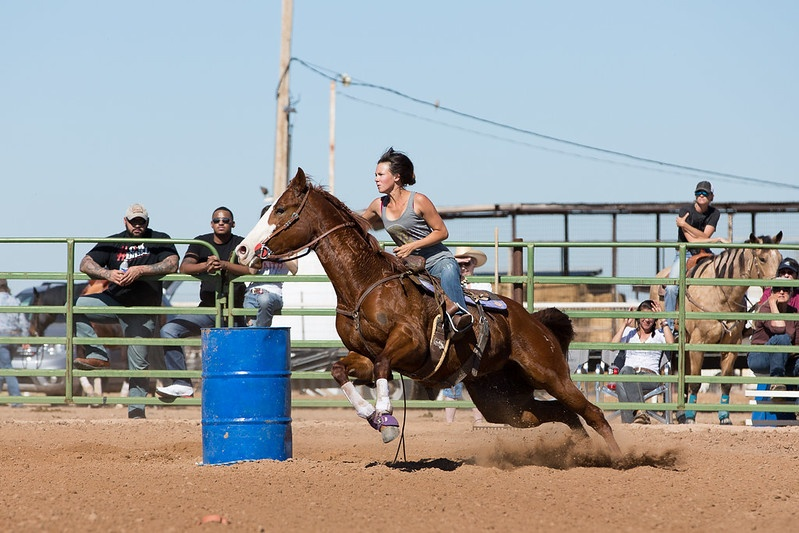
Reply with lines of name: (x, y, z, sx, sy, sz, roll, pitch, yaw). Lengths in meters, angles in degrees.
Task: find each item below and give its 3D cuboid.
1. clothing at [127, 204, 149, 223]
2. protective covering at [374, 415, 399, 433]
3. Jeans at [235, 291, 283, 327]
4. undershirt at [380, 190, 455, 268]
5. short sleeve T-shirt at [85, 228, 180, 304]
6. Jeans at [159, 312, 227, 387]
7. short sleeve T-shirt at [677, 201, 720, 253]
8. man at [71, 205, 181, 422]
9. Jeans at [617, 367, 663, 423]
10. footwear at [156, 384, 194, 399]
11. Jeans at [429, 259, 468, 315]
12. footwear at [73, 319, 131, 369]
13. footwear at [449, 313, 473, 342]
clothing: (-3.889, -0.726, 25.388, 0.297, 0.231, 0.309, 2, -2, -15)
protective covering: (-0.177, 1.996, 21.878, 0.291, 0.218, 0.196, 1, -2, -2)
Jeans: (-2.095, 0.642, 25.235, 0.388, 0.565, 0.360, 5, 27, 4)
undershirt: (0.169, -0.393, 21.792, 0.694, 0.866, 0.508, -17, 10, 36)
short sleeve T-shirt: (-3.997, 0.010, 25.618, 1.253, 1.121, 0.673, 5, 20, 5)
Jeans: (-3.244, 1.322, 26.060, 1.036, 1.423, 1.005, 0, -9, 1)
short sleeve T-shirt: (4.535, -0.540, 26.194, 0.808, 0.983, 0.552, 0, -7, -2)
man: (-4.145, 0.672, 25.497, 1.509, 3.195, 1.244, 5, -11, -24)
Jeans: (3.732, 1.965, 26.477, 0.841, 1.032, 0.803, 1, 4, 11)
footwear: (-3.291, 1.839, 25.033, 0.505, 0.199, 0.230, 4, -11, -8)
Jeans: (0.633, 0.260, 22.362, 0.430, 0.656, 0.257, -1, -3, 7)
footwear: (-5.444, 1.379, 30.254, 0.353, 1.084, 0.719, 22, -7, 10)
footwear: (0.771, 0.795, 22.070, 0.234, 0.376, 0.137, 10, 28, -19)
